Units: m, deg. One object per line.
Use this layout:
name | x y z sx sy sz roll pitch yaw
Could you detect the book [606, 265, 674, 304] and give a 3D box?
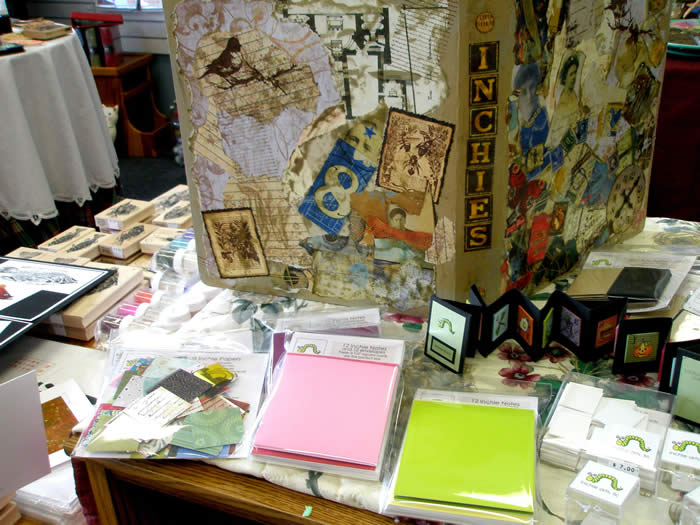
book | 0.640 0.049 1.192 0.091 0.027 0.174 20 36 35
